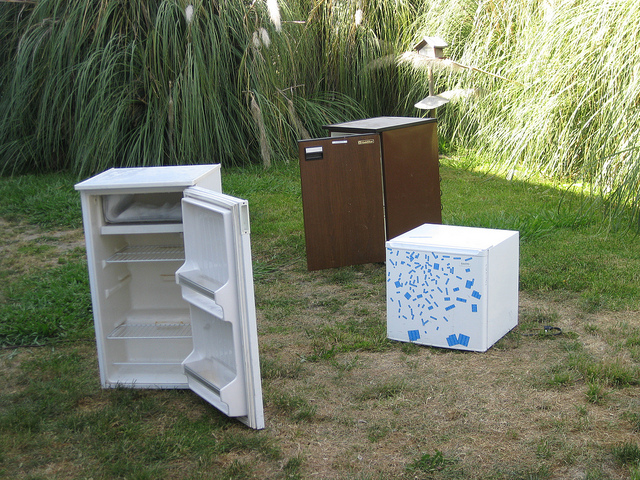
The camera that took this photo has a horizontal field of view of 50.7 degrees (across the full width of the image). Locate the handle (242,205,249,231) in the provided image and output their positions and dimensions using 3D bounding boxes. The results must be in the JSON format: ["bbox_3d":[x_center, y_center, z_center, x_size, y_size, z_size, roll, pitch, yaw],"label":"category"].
[{"bbox_3d":[-0.526,-0.159,4.707,0.037,0.177,0.039,-3,15,-11],"label":"handle"}]

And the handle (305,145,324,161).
[{"bbox_3d":[-0.071,-0.889,6.863,0.170,0.142,0.133,-3,9,-7],"label":"handle"}]

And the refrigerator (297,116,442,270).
[{"bbox_3d":[0.574,-0.499,7.332,0.943,1.535,1.488,7,19,40],"label":"refrigerator"}]

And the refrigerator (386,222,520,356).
[{"bbox_3d":[1.201,0.358,6.001,0.950,1.084,1.027,6,12,32],"label":"refrigerator"}]

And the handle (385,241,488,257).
[{"bbox_3d":[0.951,0.065,5.623,0.869,0.102,0.048,9,18,25],"label":"handle"}]

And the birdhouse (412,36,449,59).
[{"bbox_3d":[1.288,-2.270,7.916,0.308,0.241,0.338,17,29,39],"label":"birdhouse"}]

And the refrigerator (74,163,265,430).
[{"bbox_3d":[-1.091,0.344,5.394,1.662,1.731,1.053,12,21,35],"label":"refrigerator"}]
